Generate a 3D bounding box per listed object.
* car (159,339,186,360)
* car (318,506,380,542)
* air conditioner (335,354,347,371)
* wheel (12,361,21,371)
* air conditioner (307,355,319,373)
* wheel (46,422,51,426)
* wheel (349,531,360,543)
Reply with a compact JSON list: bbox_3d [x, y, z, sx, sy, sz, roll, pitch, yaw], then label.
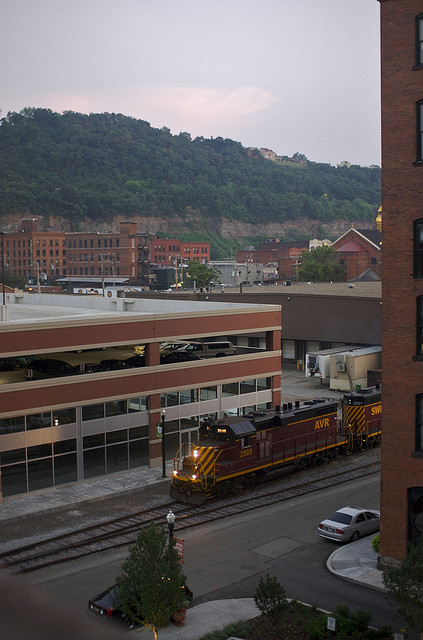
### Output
[{"bbox_3d":[-3.089,2.184,60.089,2.152,0.909,1.248,0,-2,-43],"label":"car"},{"bbox_3d":[4.808,6.952,28.777,0.944,0.630,2.232,3,7,43],"label":"car"},{"bbox_3d":[9.733,3.221,63.030,0.633,1.208,1.450,-4,3,-17],"label":"air conditioner"},{"bbox_3d":[-11.516,2.696,49.463,0.387,0.400,0.663,-5,-9,29],"label":"wheel"},{"bbox_3d":[7.949,3.425,65.759,0.402,1.390,1.317,-5,3,-26],"label":"air conditioner"},{"bbox_3d":[-6.884,4.372,35.269,0.034,0.100,0.241,-2,3,35],"label":"wheel"},{"bbox_3d":[4.796,7.305,28.366,0.438,0.414,0.142,-4,10,-35],"label":"wheel"}]
